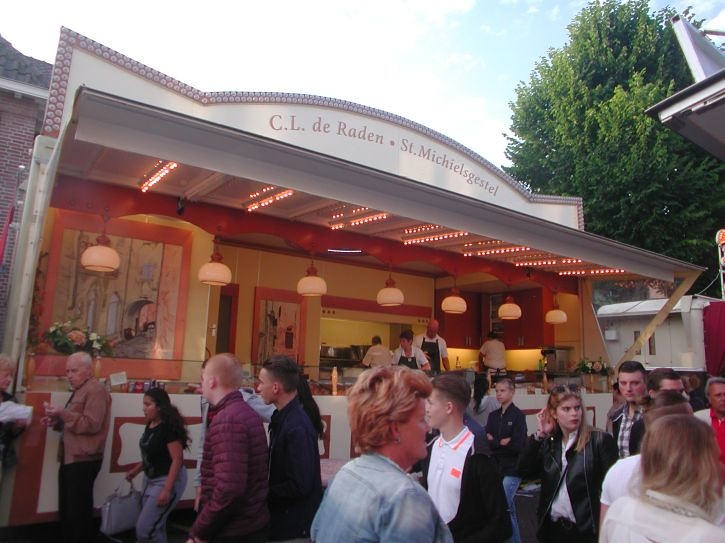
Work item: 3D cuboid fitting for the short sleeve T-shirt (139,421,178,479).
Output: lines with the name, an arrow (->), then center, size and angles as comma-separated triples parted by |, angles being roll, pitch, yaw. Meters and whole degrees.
short sleeve T-shirt -> -1.919, 1.687, 5.228 | 0.545, 0.540, 0.292 | -12, -15, 37

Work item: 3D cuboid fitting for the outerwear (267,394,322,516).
outerwear -> -0.518, 1.300, 4.057 | 0.536, 0.844, 0.761 | 1, -15, -2

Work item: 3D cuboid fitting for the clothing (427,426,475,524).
clothing -> 0.588, 1.336, 3.592 | 0.363, 0.533, 0.309 | -3, -18, 28

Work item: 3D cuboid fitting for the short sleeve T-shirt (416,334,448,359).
short sleeve T-shirt -> 1.330, 1.548, 10.605 | 0.795, 0.600, 0.416 | 3, -14, 1

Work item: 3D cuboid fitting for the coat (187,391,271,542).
coat -> -0.856, 1.262, 3.627 | 0.488, 0.937, 0.351 | 2, -14, -10

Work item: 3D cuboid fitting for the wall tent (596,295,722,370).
wall tent -> 8.145, 1.660, 15.107 | 2.126, 1.948, 2.841 | 5, -8, -37

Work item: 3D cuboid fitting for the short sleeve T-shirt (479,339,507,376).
short sleeve T-shirt -> 3.112, 1.973, 12.954 | 0.805, 0.989, 0.633 | 0, -6, 20

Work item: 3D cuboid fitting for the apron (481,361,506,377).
apron -> 2.897, 2.128, 12.042 | 0.526, 0.215, 0.540 | 3, -11, -22
